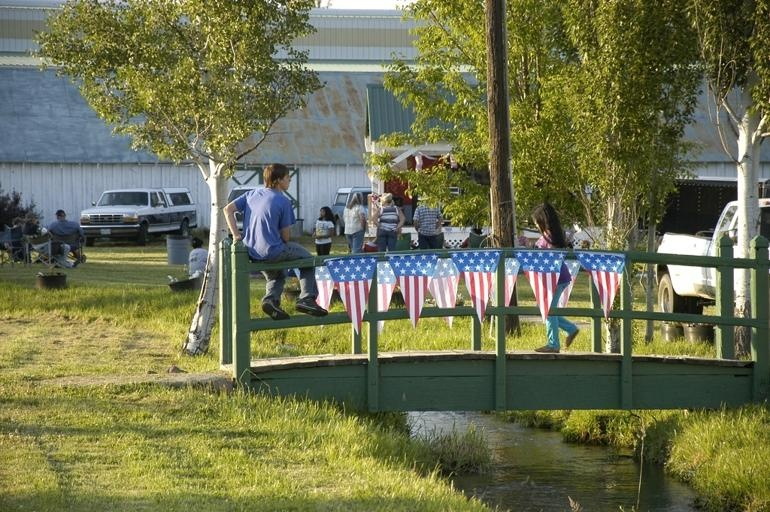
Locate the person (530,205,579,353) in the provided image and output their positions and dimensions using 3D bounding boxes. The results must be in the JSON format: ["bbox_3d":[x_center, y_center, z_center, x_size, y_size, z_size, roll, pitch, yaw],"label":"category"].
[{"bbox_3d":[3.241,0.453,32.735,1.155,3.422,0.757,-6,18,-3],"label":"person"}]

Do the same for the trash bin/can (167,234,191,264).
[{"bbox_3d":[-5.951,-0.182,46.793,0.616,0.852,0.709,0,-3,-2],"label":"trash bin/can"}]

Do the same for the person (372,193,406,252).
[{"bbox_3d":[0.044,-0.799,39.882,0.418,1.647,0.602,0,0,1],"label":"person"}]

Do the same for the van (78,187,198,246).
[{"bbox_3d":[-8.334,-1.394,55.833,2.130,1.983,5.485,-1,2,15],"label":"van"}]
